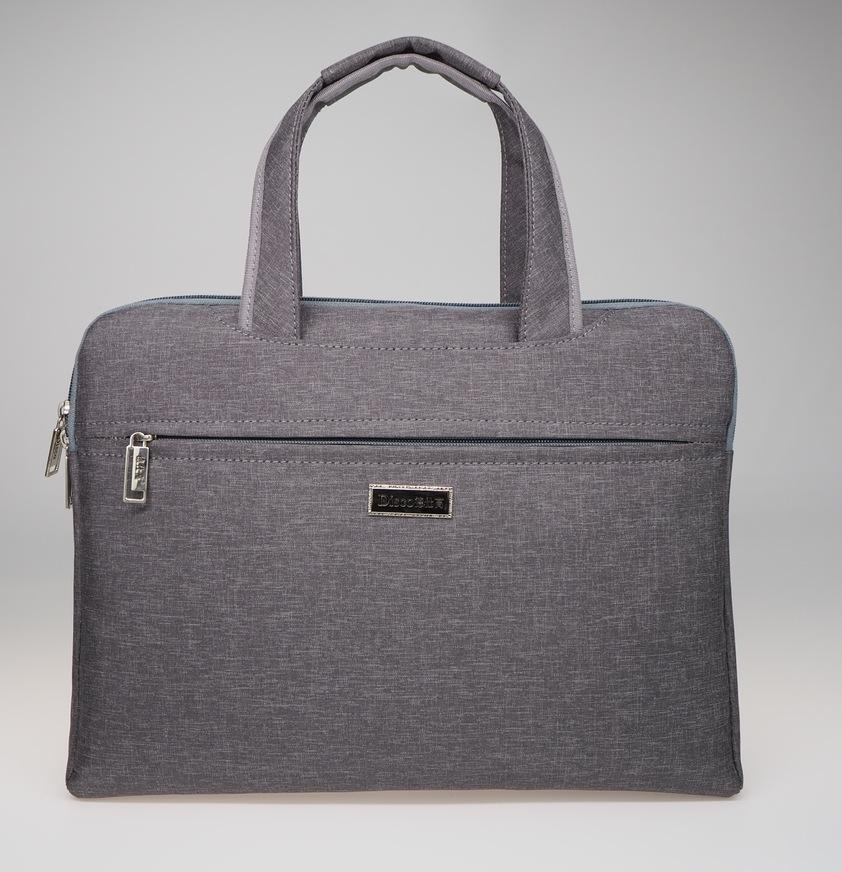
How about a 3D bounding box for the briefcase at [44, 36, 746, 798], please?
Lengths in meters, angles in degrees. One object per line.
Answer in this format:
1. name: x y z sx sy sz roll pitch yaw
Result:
1. briefcase: 0.002 -0.015 1.245 0.743 0.737 0.284 1 13 4
